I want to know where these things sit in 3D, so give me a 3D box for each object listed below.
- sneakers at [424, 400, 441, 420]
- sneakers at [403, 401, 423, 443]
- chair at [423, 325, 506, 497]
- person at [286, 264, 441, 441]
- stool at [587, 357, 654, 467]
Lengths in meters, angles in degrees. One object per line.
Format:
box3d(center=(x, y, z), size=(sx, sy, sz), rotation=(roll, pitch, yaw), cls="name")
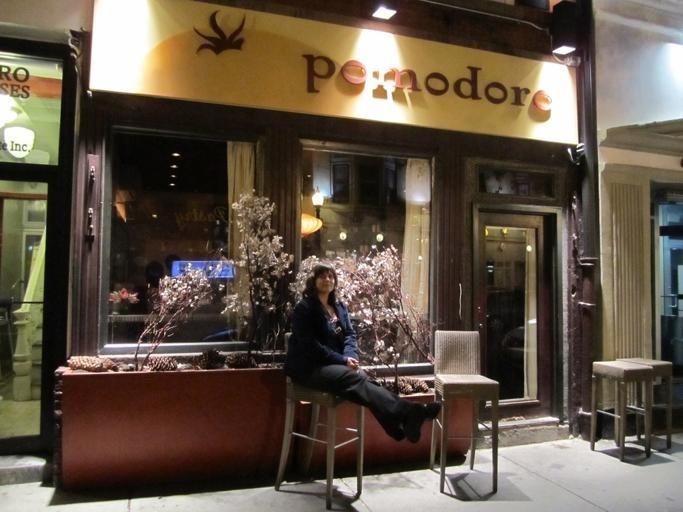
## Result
box3d(center=(0.851, 1.415, 5.520), size=(0.112, 0.174, 0.258), rotation=(4, 8, 25), cls="sneakers")
box3d(center=(0.651, 1.480, 5.461), size=(0.149, 0.372, 0.144), rotation=(6, -5, -1), cls="sneakers")
box3d(center=(1.276, 1.532, 6.166), size=(0.689, 1.423, 0.944), rotation=(2, 7, 9), cls="chair")
box3d(center=(0.162, 0.871, 5.710), size=(1.491, 1.683, 0.657), rotation=(-7, -11, 38), cls="person")
box3d(center=(3.142, 1.761, 7.015), size=(0.656, 1.107, 0.700), rotation=(9, -5, -18), cls="stool")
